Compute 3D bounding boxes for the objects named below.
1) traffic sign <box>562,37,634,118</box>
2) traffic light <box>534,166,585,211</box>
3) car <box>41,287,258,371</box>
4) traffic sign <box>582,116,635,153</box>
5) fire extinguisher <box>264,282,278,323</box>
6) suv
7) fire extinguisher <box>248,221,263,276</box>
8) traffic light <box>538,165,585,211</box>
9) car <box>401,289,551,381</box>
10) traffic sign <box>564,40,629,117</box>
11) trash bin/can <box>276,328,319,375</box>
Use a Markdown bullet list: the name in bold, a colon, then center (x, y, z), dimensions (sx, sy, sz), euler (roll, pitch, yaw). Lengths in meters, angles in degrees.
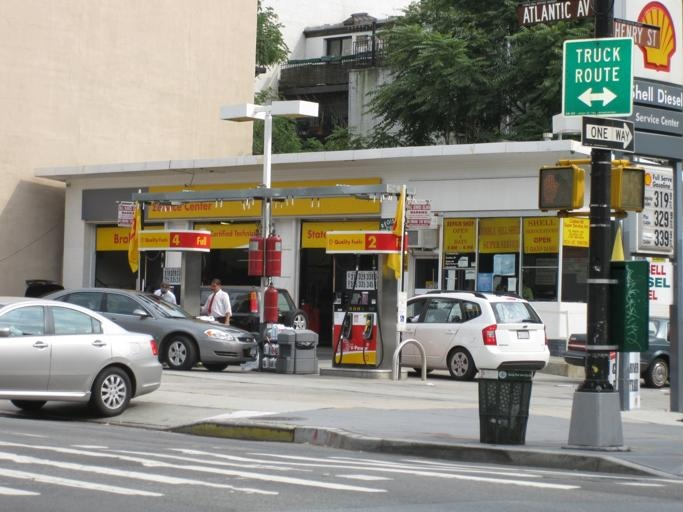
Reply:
- **traffic sign**: center (4.356, -3.029, 21.793), dimensions (1.292, 1.474, 0.069), euler (0, 3, 20)
- **traffic light**: center (3.719, -1.130, 21.701), dimensions (0.698, 0.744, 0.369), euler (0, -4, 42)
- **car**: center (-4.580, 1.665, 31.020), dimensions (4.883, 1.643, 2.046), euler (2, -2, 9)
- **traffic sign**: center (4.498, -2.056, 21.749), dimensions (0.700, 0.430, 0.028), euler (8, -14, -34)
- **fire extinguisher**: center (-1.717, 1.141, 31.602), dimensions (0.323, 1.025, 0.450), euler (1, -3, -6)
- **suv**: center (-2.331, 1.656, 36.002), dimensions (2.414, 1.421, 1.459), euler (3, 1, 9)
- **fire extinguisher**: center (-2.069, -0.057, 31.623), dimensions (0.354, 1.081, 0.351), euler (0, -3, -2)
- **traffic light**: center (3.702, -1.131, 21.718), dimensions (0.695, 0.748, 0.401), euler (0, -3, 37)
- **car**: center (3.146, 1.885, 30.930), dimensions (1.775, 1.516, 3.653), euler (4, -6, -38)
- **traffic sign**: center (4.363, -3.029, 21.789), dimensions (1.214, 1.387, 0.068), euler (0, -3, 11)
- **trash bin/can**: center (-1.025, 2.317, 31.274), dimensions (1.023, 1.013, 0.703), euler (3, -3, -40)
